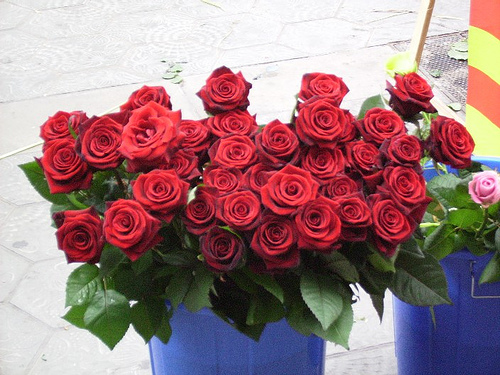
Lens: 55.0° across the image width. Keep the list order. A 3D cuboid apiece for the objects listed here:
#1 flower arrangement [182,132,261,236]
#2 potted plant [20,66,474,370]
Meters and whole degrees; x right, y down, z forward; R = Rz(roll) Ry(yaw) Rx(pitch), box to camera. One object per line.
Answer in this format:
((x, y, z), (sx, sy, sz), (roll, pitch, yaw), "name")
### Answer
((-0.039, -0.008, 0.675), (0.107, 0.156, 0.100), (2, -2, -2), "flower arrangement")
((-0.013, 0.052, 0.889), (0.626, 0.491, 0.423), (-6, -27, -6), "potted plant")
